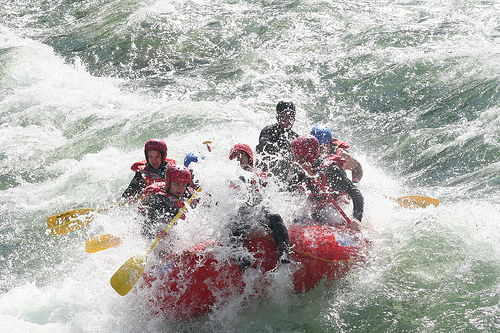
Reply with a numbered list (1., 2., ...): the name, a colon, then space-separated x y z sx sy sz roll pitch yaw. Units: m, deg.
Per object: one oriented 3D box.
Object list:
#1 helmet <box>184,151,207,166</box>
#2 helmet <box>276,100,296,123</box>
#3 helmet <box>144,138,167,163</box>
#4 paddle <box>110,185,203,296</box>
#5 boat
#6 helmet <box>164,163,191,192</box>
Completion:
1. helmet: -1.448 -0.188 14.909 0.482 0.354 0.378 20 10 -26
2. helmet: 0.913 -1.446 15.084 0.436 0.577 0.545 -1 77 -3
3. helmet: -2.335 -0.421 14.474 0.500 0.512 0.589 1 15 1
4. paddle: -2.072 1.777 13.270 3.170 0.154 0.680 -44 92 -15
5. boat: -0.063 2.448 13.563 4.283 2.031 1.188 -22 80 -8
6. helmet: -1.637 0.229 13.140 0.435 0.449 0.509 5 23 -12
